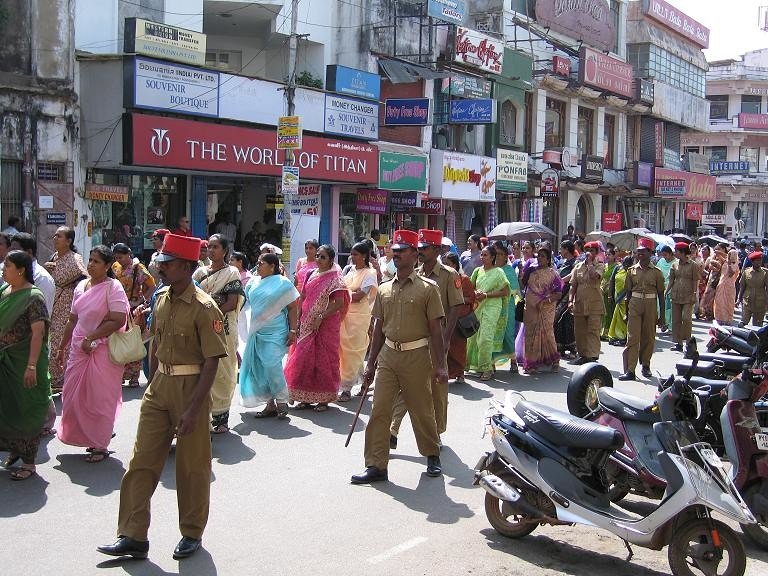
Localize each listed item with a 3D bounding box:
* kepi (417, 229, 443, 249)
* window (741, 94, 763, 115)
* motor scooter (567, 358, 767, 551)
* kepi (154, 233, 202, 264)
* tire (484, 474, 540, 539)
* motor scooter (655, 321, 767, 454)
[{"bbox_3d":[0.472,-0.525,8.048,0.219,0.128,0.183,0,1,-18],"label":"kepi"},{"bbox_3d":[26.515,-13.446,54.839,1.357,1.615,0.142,2,6,8],"label":"window"},{"bbox_3d":[2.480,1.255,6.588,1.857,1.425,0.961,10,5,43],"label":"motor scooter"},{"bbox_3d":[-1.560,-0.304,5.774,0.259,0.165,0.210,1,7,-21],"label":"kepi"},{"bbox_3d":[1.022,1.741,6.069,0.111,0.649,0.516,-6,6,-42],"label":"tire"},{"bbox_3d":[3.079,0.881,6.944,1.397,1.077,1.009,-2,1,24],"label":"motor scooter"}]
